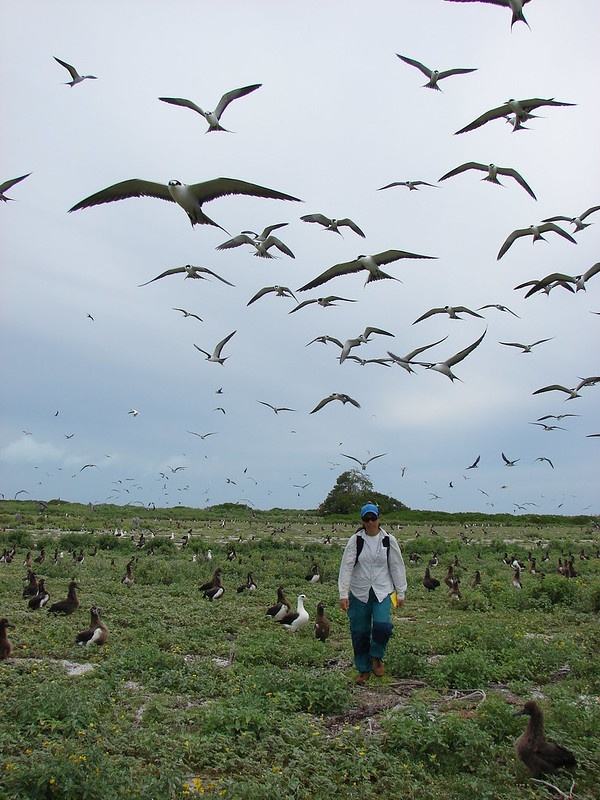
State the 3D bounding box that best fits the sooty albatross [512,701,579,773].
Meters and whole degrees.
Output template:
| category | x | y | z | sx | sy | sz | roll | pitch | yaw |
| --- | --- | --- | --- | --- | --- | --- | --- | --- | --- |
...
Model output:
| category | x | y | z | sx | sy | sz | roll | pitch | yaw |
| --- | --- | --- | --- | --- | --- | --- | --- | --- | --- |
| sooty albatross | 2.476 | 3.434 | 6.671 | 0.617 | 0.703 | 0.354 | 2 | -6 | 11 |
